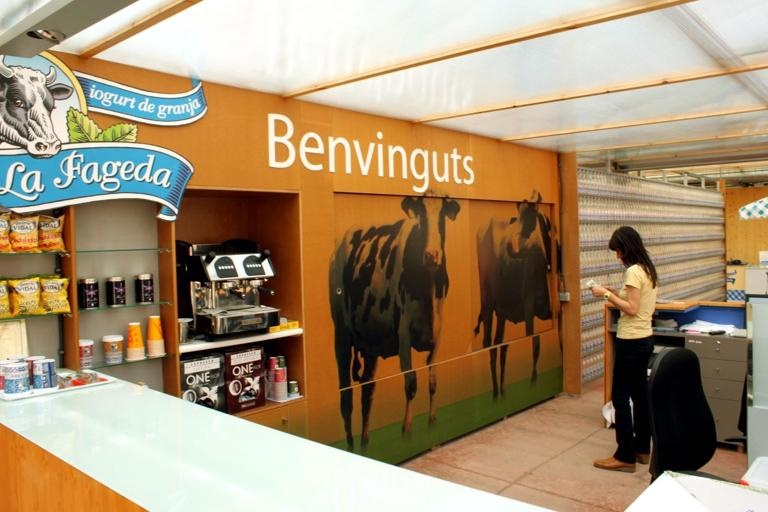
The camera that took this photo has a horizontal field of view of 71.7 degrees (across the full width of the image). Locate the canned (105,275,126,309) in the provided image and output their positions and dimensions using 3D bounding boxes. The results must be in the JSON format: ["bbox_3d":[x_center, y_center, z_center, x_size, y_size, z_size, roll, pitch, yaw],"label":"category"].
[{"bbox_3d":[-2.030,0.260,4.002,0.126,0.211,0.122,-2,7,-25],"label":"canned"}]

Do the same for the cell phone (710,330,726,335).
[{"bbox_3d":[3.744,0.855,5.948,0.192,0.048,0.069,0,7,-11],"label":"cell phone"}]

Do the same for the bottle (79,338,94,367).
[{"bbox_3d":[-2.115,0.694,3.759,0.078,0.196,0.082,1,6,0],"label":"bottle"}]

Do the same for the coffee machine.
[{"bbox_3d":[-1.337,0.291,4.572,0.905,0.762,0.654,-1,1,44],"label":"coffee machine"}]

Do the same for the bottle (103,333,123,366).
[{"bbox_3d":[-2.023,0.688,3.958,0.124,0.204,0.158,-3,8,-33],"label":"bottle"}]

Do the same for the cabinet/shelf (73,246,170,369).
[{"bbox_3d":[-2.012,0.396,4.023,0.306,1.033,0.937,-6,-6,39],"label":"cabinet/shelf"}]

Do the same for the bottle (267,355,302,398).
[{"bbox_3d":[-0.913,1.096,4.805,0.262,0.361,0.256,1,6,0],"label":"bottle"}]

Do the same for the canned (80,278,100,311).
[{"bbox_3d":[-2.164,0.269,3.880,0.136,0.213,0.113,-2,7,-31],"label":"canned"}]
